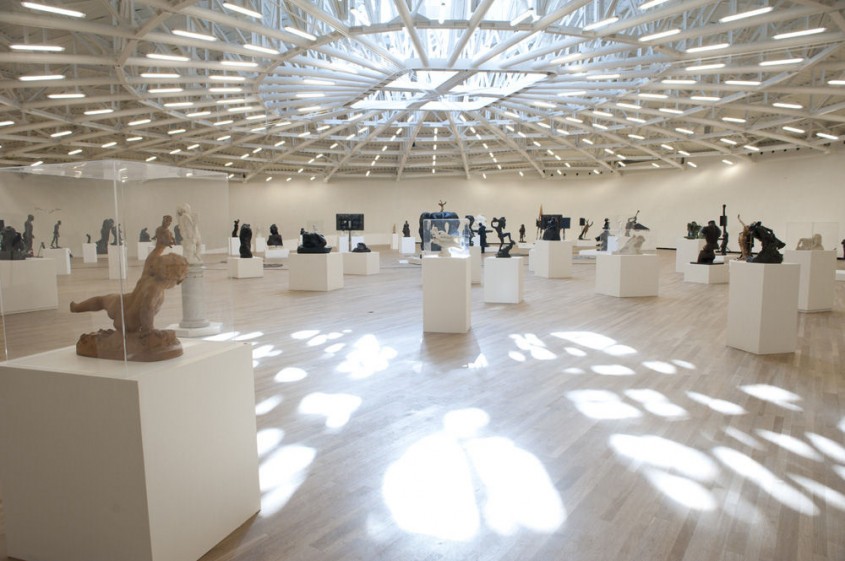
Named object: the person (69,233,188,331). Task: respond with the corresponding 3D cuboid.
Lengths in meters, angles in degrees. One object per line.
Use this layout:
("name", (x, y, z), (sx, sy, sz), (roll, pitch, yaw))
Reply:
("person", (-2.290, -0.016, 3.993), (0.793, 0.787, 0.278), (-1, 11, -5))

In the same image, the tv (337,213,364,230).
("tv", (-2.971, -2.418, 20.811), (0.996, 0.663, 0.684), (3, 12, 15))
